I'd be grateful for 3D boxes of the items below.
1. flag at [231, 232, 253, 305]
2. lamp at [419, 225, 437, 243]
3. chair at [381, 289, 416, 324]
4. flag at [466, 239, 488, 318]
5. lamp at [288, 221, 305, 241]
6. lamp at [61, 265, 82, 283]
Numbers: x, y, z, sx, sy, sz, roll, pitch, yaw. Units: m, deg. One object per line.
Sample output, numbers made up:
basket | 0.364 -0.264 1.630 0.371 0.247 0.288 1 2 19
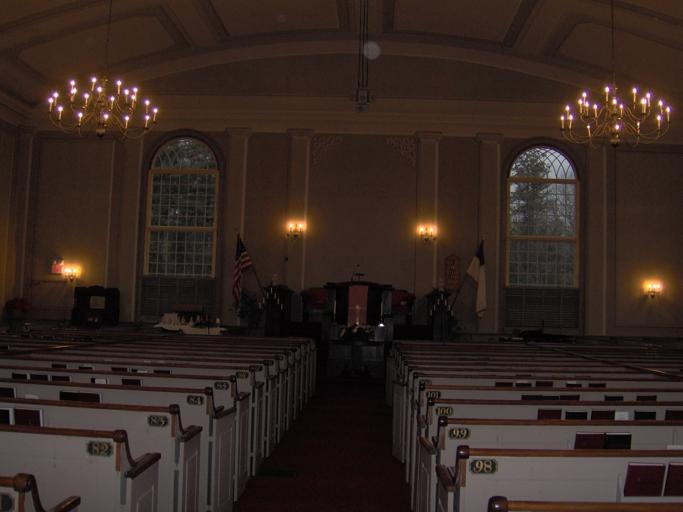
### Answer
flag | -2.311 0.280 14.339 0.488 1.656 0.804 0 -3 -10
lamp | 2.052 -0.514 14.591 0.351 0.392 0.121 1 -7 -2
chair | 1.147 1.122 12.768 0.698 0.778 0.545 -1 3 -8
flag | 3.157 0.504 14.225 0.380 1.772 0.628 -1 -3 20
lamp | -1.092 -0.591 14.733 0.411 0.458 0.132 1 -4 -8
lamp | -6.459 0.403 14.664 0.462 0.435 0.131 -1 -3 9
